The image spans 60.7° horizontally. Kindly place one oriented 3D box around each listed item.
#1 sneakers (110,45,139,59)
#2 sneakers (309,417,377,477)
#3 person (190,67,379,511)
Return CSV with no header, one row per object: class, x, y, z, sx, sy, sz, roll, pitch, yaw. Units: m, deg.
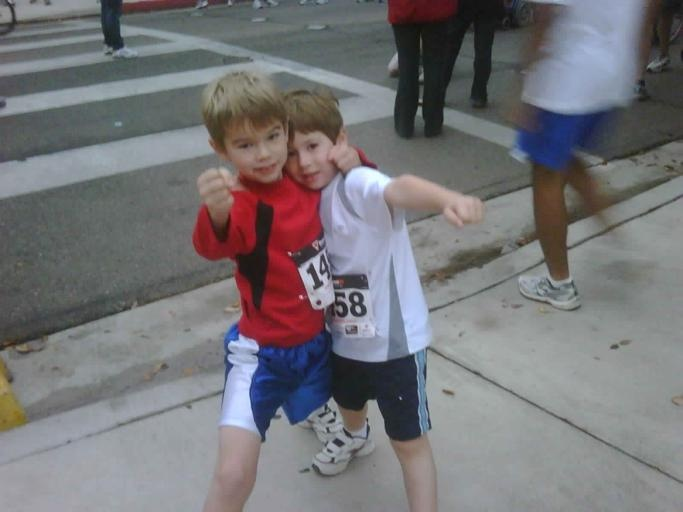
sneakers,-3.615,-3.357,9.737,0.499,0.227,0.207,-6,43,-13
sneakers,0.018,0.909,2.812,0.357,0.162,0.133,-16,29,-37
person,-0.289,0.106,2.267,0.506,1.377,0.947,-4,31,-1
